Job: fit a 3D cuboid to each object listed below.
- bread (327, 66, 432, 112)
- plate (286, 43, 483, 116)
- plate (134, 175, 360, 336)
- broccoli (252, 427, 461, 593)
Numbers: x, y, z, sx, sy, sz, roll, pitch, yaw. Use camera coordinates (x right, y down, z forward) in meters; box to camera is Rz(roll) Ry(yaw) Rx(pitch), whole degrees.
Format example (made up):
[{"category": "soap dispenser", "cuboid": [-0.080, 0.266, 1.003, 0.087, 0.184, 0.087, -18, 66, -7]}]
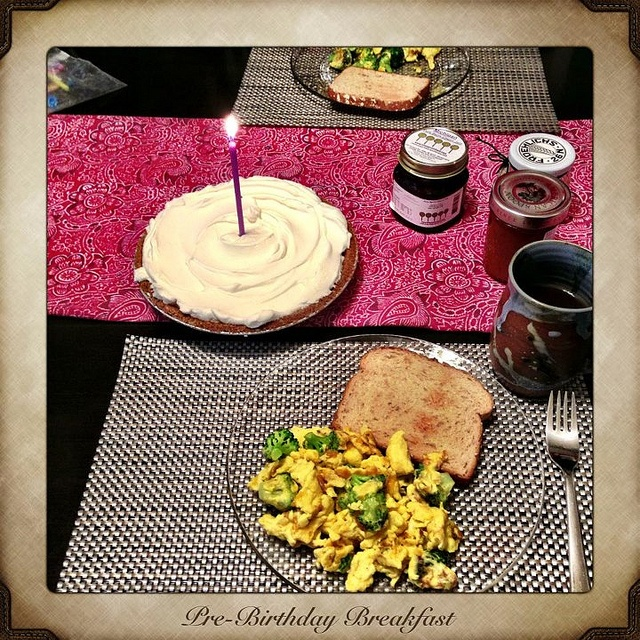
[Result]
[{"category": "bread", "cuboid": [0.189, -0.737, 2.097, 0.305, 0.047, 0.143, 7, 58, 11]}, {"category": "plate", "cuboid": [0.196, -0.809, 2.168, 0.535, 0.056, 0.400, -11, 55, -9]}, {"category": "plate", "cuboid": [-0.184, -0.185, 1.631, 0.547, 0.073, 0.547, -4, 49, -2]}, {"category": "broccoli", "cuboid": [0.058, 0.329, 1.192, 0.391, 0.121, 0.316, -1, 50, 1]}]
